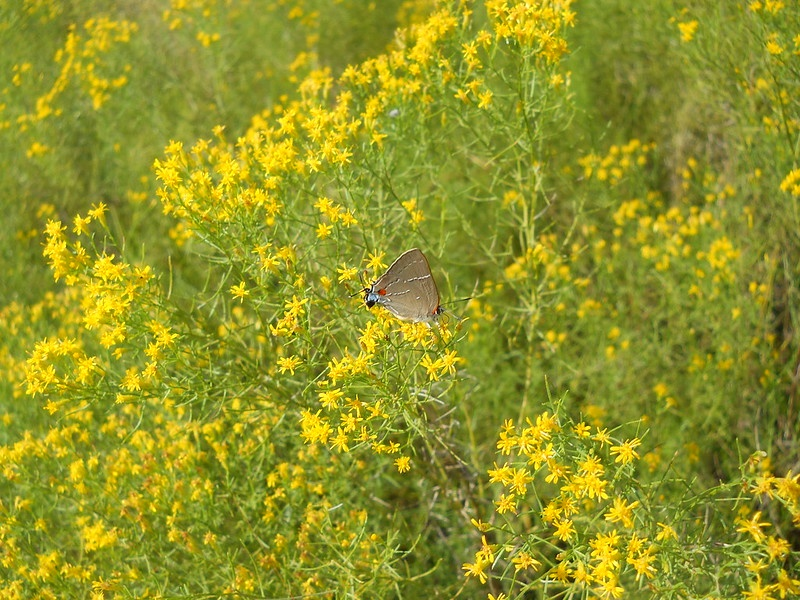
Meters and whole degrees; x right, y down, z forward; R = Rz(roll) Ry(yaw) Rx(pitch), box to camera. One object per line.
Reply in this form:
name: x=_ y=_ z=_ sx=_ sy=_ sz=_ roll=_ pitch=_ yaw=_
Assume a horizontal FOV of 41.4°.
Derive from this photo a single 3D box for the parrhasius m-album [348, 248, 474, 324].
parrhasius m-album: x=0.014 y=-0.011 z=5.355 sx=0.389 sy=0.366 sz=0.228 roll=-23 pitch=44 yaw=-6
